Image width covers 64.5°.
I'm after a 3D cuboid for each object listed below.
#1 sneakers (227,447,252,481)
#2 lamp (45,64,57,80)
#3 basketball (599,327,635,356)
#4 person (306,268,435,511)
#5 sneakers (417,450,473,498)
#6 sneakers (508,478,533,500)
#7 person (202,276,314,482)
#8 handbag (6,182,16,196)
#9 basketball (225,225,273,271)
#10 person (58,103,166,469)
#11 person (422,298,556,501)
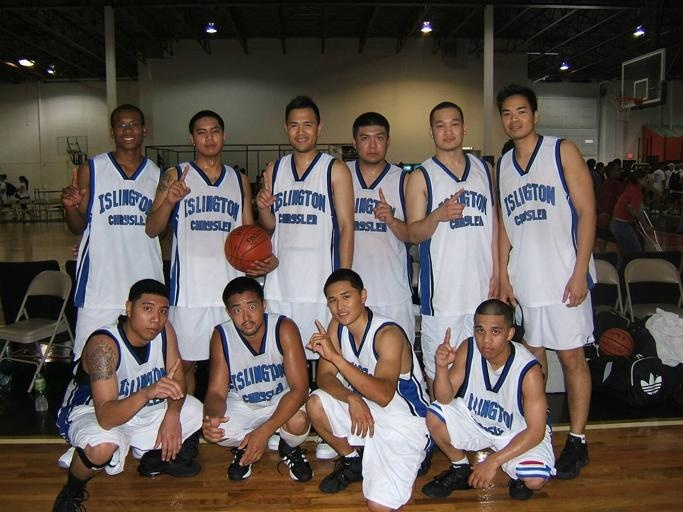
[{"bbox_3d":[-0.618,1.236,3.265,0.146,0.187,0.285,-2,11,-7],"label":"sneakers"},{"bbox_3d":[-10.026,-6.359,18.628,0.239,0.309,0.256,8,10,23],"label":"lamp"},{"bbox_3d":[2.274,0.733,4.448,0.203,0.224,0.216,-17,0,36],"label":"basketball"},{"bbox_3d":[0.159,0.733,3.125,0.717,1.261,0.593,1,11,10],"label":"person"},{"bbox_3d":[0.635,1.291,3.179,0.368,0.183,0.127,-16,14,-24],"label":"sneakers"},{"bbox_3d":[1.023,1.319,3.054,0.132,0.097,0.074,2,11,15],"label":"sneakers"},{"bbox_3d":[-0.537,0.753,3.303,0.631,1.192,0.783,-3,7,-14],"label":"person"},{"bbox_3d":[-10.673,-2.134,17.391,0.216,0.398,0.420,-4,12,-18],"label":"handbag"},{"bbox_3d":[-0.578,-0.048,3.409,0.258,0.297,0.283,7,28,-10],"label":"basketball"},{"bbox_3d":[-1.530,0.064,3.751,0.631,2.109,0.549,4,23,-25],"label":"person"},{"bbox_3d":[0.860,0.819,3.090,0.709,1.091,0.518,4,12,23],"label":"person"}]
